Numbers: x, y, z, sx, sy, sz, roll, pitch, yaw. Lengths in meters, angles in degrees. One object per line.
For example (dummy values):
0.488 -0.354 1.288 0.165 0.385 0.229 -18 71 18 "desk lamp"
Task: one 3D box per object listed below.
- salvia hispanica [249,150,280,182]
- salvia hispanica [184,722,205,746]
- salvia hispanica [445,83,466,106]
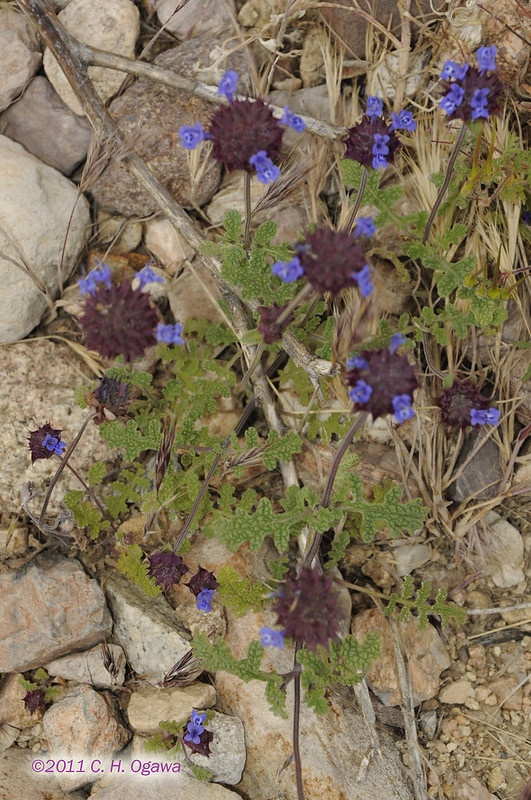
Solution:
-0.009 -0.790 2.744 0.083 0.089 0.104 -12 61 -16 "salvia hispanica"
-0.312 1.461 3.548 0.080 0.121 0.078 14 58 -1 "salvia hispanica"
0.659 -1.051 2.810 0.060 0.063 0.042 13 58 -1 "salvia hispanica"
